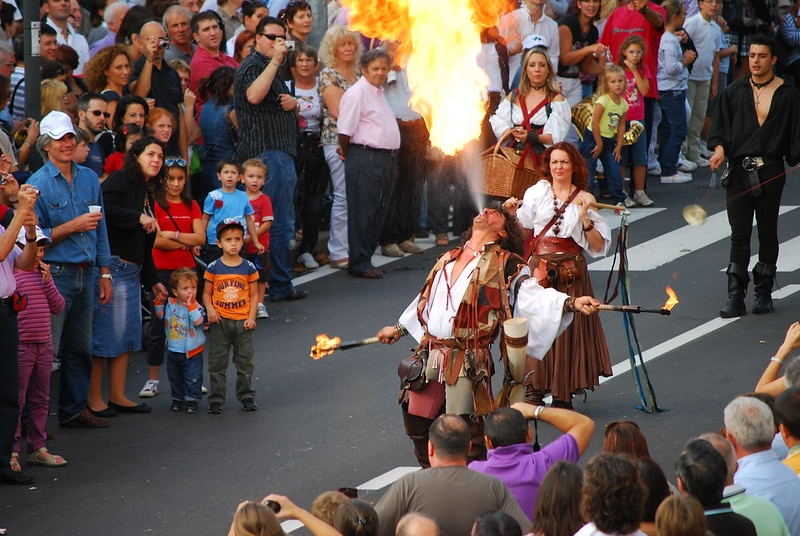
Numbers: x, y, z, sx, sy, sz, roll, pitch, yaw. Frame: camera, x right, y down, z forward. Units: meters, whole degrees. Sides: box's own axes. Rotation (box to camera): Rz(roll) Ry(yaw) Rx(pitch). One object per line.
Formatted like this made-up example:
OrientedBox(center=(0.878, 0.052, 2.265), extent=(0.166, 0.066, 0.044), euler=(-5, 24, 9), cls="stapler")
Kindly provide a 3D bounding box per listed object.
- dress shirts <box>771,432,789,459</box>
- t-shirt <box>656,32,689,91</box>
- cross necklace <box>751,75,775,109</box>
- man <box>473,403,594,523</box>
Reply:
OrientedBox(center=(2.996, 1.414, 8.570), extent=(0.187, 0.219, 0.102), euler=(-9, 8, 17), cls="dress shirts")
OrientedBox(center=(4.219, -3.218, 16.894), extent=(0.626, 0.860, 0.794), euler=(-8, 24, -1), cls="t-shirt")
OrientedBox(center=(4.135, -2.054, 12.424), extent=(0.245, 0.305, 0.082), euler=(7, 10, 21), cls="cross necklace")
OrientedBox(center=(0.935, 1.297, 7.799), extent=(0.930, 0.820, 0.373), euler=(0, 39, 2), cls="man")
